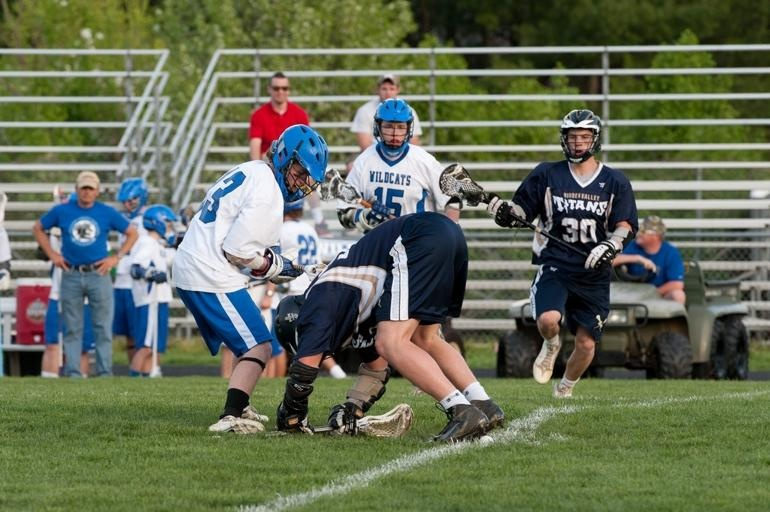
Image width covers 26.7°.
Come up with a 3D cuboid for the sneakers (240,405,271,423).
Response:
[{"bbox_3d":[-1.570,1.914,19.711,0.141,0.171,0.400,3,-3,24],"label":"sneakers"}]

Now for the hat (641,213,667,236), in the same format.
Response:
[{"bbox_3d":[3.962,-0.472,24.086,0.343,0.329,0.260,0,13,-17],"label":"hat"}]

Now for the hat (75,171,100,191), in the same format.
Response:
[{"bbox_3d":[-4.368,-1.112,23.796,0.307,0.282,0.273,2,-6,-18],"label":"hat"}]

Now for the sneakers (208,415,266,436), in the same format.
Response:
[{"bbox_3d":[-1.756,1.998,19.272,0.678,0.267,0.251,-2,-5,-2],"label":"sneakers"}]

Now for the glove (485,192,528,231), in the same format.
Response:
[{"bbox_3d":[1.553,-0.565,20.891,0.478,0.197,0.385,30,-7,-18],"label":"glove"}]

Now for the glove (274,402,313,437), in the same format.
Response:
[{"bbox_3d":[-1.044,1.931,19.383,0.641,0.436,0.216,16,-9,-42],"label":"glove"}]

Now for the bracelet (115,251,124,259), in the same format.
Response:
[{"bbox_3d":[-3.924,-0.028,23.998,0.108,0.105,0.034,-22,-45,11],"label":"bracelet"}]

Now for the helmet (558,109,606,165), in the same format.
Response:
[{"bbox_3d":[2.622,-1.484,21.073,0.462,0.599,0.601,-11,-14,37],"label":"helmet"}]

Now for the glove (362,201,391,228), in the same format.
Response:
[{"bbox_3d":[-0.122,-0.512,20.930,0.286,0.356,0.383,23,4,-6],"label":"glove"}]

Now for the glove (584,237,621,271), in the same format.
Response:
[{"bbox_3d":[2.787,-0.029,20.664,0.468,0.377,0.255,0,-6,7],"label":"glove"}]

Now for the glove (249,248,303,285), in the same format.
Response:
[{"bbox_3d":[-1.233,0.121,19.686,0.640,0.257,0.411,14,28,-36],"label":"glove"}]

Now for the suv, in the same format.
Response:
[{"bbox_3d":[3.981,0.842,23.550,1.777,1.408,2.997,-3,-7,26],"label":"suv"}]

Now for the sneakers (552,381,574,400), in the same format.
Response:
[{"bbox_3d":[2.315,1.731,21.038,0.142,0.290,0.179,9,-16,3],"label":"sneakers"}]
